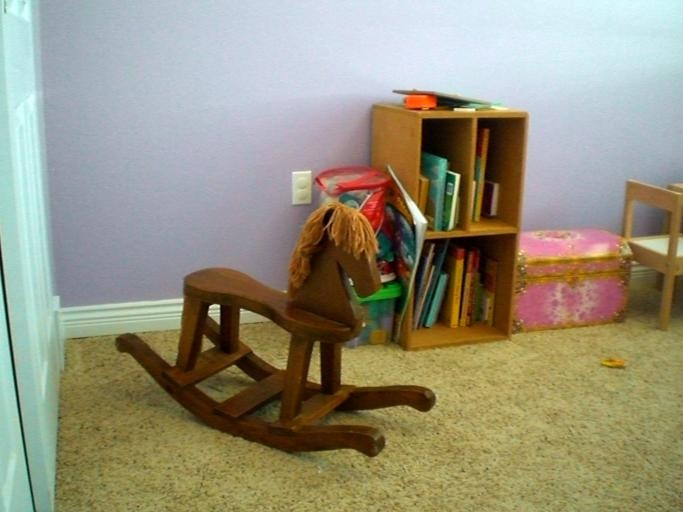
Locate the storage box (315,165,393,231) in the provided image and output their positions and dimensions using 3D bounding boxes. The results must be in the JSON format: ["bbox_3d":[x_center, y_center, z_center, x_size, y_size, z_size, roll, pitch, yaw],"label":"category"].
[{"bbox_3d":[0.031,-0.216,1.938,0.278,0.207,0.236,-9,15,-38],"label":"storage box"}]

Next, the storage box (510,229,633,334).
[{"bbox_3d":[0.816,0.087,2.251,0.566,0.311,0.369,-3,12,-18],"label":"storage box"}]

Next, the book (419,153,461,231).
[{"bbox_3d":[0.339,-0.217,1.904,0.143,0.205,0.230,-2,25,-5],"label":"book"}]

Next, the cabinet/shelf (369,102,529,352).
[{"bbox_3d":[0.387,-0.147,2.061,0.491,0.709,0.435,-4,15,-15],"label":"cabinet/shelf"}]

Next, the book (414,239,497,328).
[{"bbox_3d":[0.397,0.094,2.184,0.391,0.371,0.307,8,7,14],"label":"book"}]

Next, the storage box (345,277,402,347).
[{"bbox_3d":[0.107,0.201,2.071,0.253,0.226,0.258,3,10,15],"label":"storage box"}]

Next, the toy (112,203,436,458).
[{"bbox_3d":[-0.207,0.236,1.686,0.693,0.440,0.232,20,30,22],"label":"toy"}]
